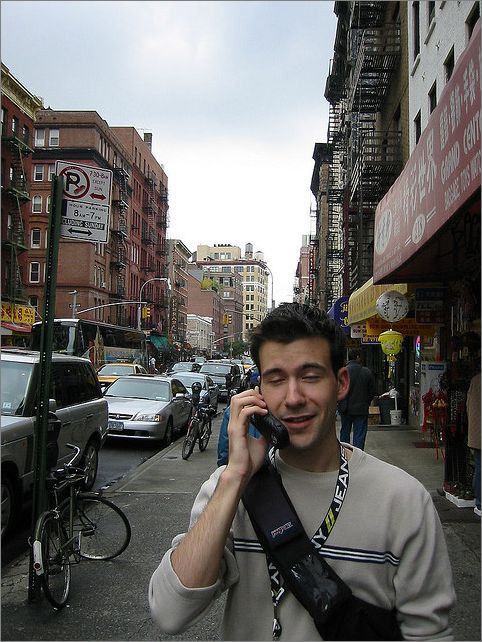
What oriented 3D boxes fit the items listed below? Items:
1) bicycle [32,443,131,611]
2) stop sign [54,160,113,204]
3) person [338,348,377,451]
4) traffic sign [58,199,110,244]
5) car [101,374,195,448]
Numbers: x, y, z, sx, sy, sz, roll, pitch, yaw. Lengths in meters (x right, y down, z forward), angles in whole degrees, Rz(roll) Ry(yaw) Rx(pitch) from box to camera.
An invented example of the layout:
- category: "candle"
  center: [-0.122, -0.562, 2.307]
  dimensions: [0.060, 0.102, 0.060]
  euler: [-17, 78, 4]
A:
- category: "bicycle"
  center: [-1.485, 1.724, 4.432]
  dimensions: [0.481, 1.180, 1.475]
  euler: [-9, -8, 14]
- category: "stop sign"
  center: [-1.310, -1.144, 4.258]
  dimensions: [0.444, 0.419, 0.010]
  euler: [4, -27, -27]
- category: "person"
  center: [2.102, 1.490, 9.437]
  dimensions: [0.576, 2.297, 0.606]
  euler: [6, 19, 24]
- category: "traffic sign"
  center: [-1.302, -0.857, 4.251]
  dimensions: [0.293, 0.368, 0.049]
  euler: [4, -12, -10]
- category: "car"
  center: [-2.672, 2.656, 14.885]
  dimensions: [2.056, 2.170, 5.448]
  euler: [-2, -7, 5]
